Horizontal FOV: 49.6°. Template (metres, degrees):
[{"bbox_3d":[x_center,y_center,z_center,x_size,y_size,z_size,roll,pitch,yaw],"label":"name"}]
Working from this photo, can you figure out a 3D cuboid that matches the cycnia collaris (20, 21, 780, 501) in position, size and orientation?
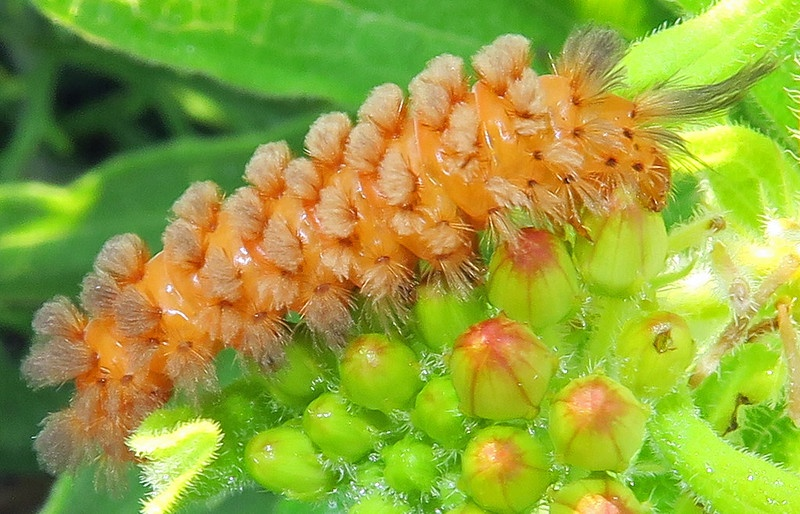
[{"bbox_3d":[-0.090,-0.043,1.385,1.344,0.449,0.433,-24,60,9],"label":"cycnia collaris"}]
